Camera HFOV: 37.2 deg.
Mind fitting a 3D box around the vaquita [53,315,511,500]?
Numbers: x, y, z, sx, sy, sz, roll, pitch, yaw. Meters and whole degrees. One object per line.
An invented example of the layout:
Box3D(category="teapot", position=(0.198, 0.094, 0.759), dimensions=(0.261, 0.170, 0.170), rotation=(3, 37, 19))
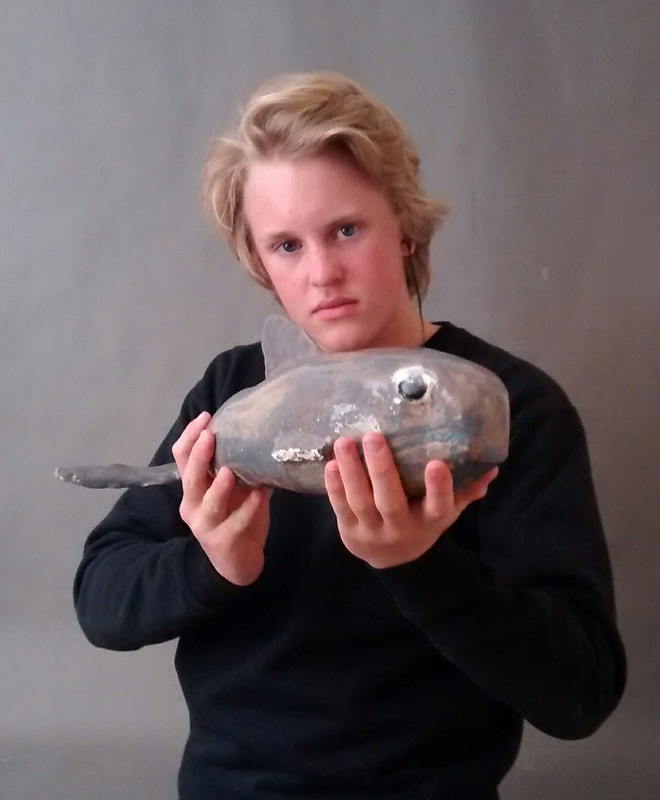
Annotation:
Box3D(category="vaquita", position=(-0.022, 0.013, 1.004), dimensions=(0.485, 0.162, 0.321), rotation=(-5, 5, 37))
